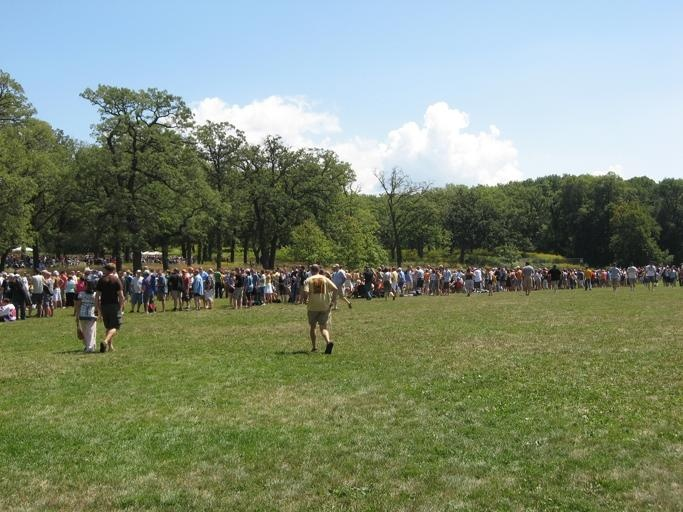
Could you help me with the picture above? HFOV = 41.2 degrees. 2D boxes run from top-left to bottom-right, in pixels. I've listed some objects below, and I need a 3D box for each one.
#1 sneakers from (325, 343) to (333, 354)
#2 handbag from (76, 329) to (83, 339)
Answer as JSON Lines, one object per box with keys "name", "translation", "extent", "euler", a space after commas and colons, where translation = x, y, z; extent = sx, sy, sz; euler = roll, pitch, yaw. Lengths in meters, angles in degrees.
{"name": "sneakers", "translation": [-0.345, 2.697, 26.644], "extent": [0.134, 0.426, 0.171], "euler": [6, 24, -14]}
{"name": "handbag", "translation": [-7.838, 2.278, 27.251], "extent": [0.180, 0.455, 0.438], "euler": [0, -8, -20]}
